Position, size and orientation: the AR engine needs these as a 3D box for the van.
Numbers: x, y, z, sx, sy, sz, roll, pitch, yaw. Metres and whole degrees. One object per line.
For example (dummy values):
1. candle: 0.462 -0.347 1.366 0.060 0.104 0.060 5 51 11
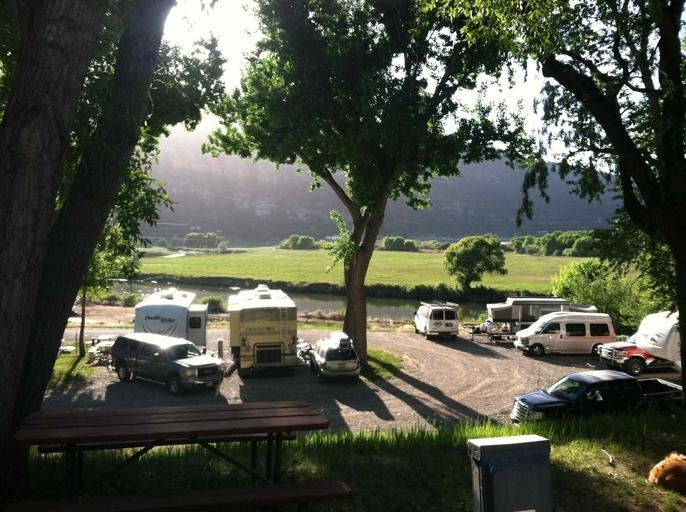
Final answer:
1. van: 11.674 3.667 37.967 4.535 2.333 2.575 0 17 12

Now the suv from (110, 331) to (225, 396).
1. suv: -6.985 4.079 28.497 4.651 1.838 2.272 5 3 31

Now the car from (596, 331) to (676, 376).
1. car: 13.220 4.369 32.964 3.047 1.542 1.778 2 -3 -9

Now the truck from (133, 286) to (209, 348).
1. truck: -8.032 2.587 33.494 2.855 2.935 2.887 -1 3 -40

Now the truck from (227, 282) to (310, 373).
1. truck: -3.578 3.576 32.806 3.152 3.155 5.800 -1 -5 -8

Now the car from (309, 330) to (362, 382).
1. car: -0.312 4.217 30.549 1.596 1.816 2.233 4 1 -13
